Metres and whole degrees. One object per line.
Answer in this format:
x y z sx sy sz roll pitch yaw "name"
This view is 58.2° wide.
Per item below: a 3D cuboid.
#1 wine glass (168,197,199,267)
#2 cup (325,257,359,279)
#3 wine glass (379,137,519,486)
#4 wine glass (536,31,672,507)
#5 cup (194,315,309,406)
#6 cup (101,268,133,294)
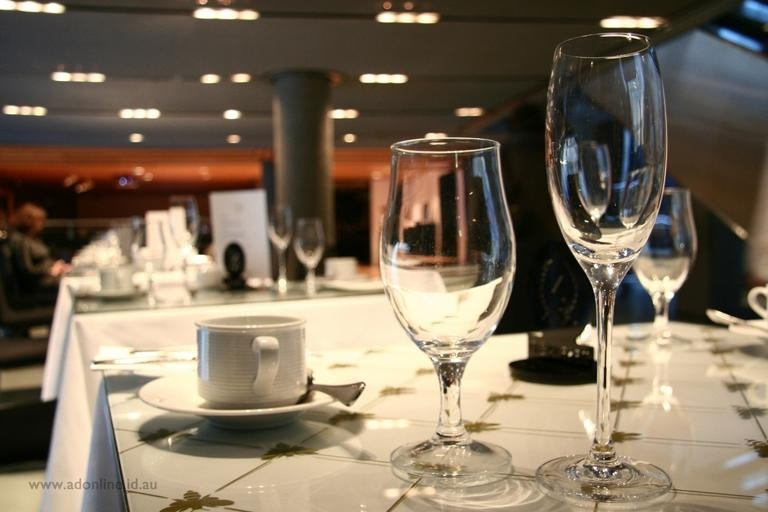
-0.587 -0.088 2.062 0.070 0.178 0.134 -1 4 14 "wine glass"
-0.138 0.036 2.213 0.077 0.051 0.076 1 3 0 "cup"
0.090 0.074 0.999 0.169 0.486 0.153 -5 5 -37 "wine glass"
0.312 0.010 0.965 0.158 0.642 0.182 1 5 39 "wine glass"
-0.208 0.160 1.085 0.127 0.101 0.159 -1 -4 -10 "cup"
-0.672 0.064 1.740 0.068 0.058 0.067 0 2 0 "cup"
